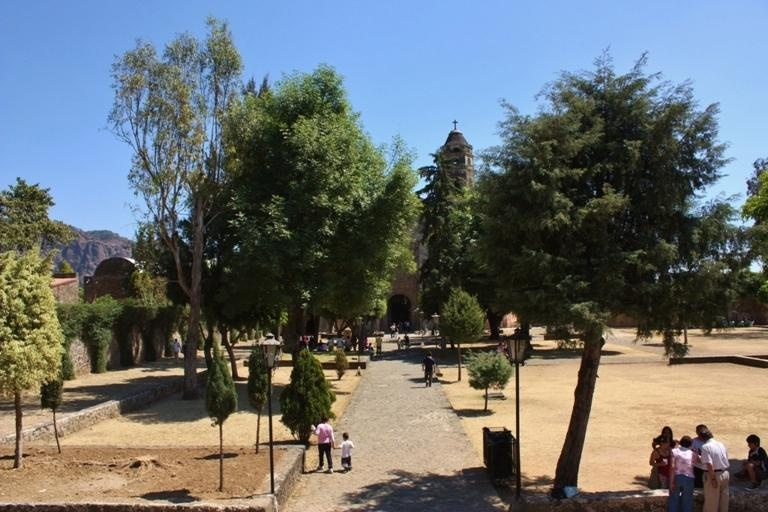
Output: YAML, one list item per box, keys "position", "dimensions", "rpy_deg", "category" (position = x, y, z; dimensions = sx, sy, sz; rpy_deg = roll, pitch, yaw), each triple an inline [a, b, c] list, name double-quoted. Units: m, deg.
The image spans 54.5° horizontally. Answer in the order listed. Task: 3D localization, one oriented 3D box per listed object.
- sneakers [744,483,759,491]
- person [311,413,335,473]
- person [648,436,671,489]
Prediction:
- position: [10.903, 6.821, 22.053]
  dimensions: [0.435, 0.176, 0.150]
  rpy_deg: [-6, -10, 32]
  category: "sneakers"
- position: [-2.129, 6.435, 25.655]
  dimensions: [0.621, 1.792, 1.324]
  rpy_deg: [-1, -5, -6]
  category: "person"
- position: [8.273, 6.188, 22.366]
  dimensions: [0.774, 1.601, 0.624]
  rpy_deg: [-5, -6, 41]
  category: "person"
